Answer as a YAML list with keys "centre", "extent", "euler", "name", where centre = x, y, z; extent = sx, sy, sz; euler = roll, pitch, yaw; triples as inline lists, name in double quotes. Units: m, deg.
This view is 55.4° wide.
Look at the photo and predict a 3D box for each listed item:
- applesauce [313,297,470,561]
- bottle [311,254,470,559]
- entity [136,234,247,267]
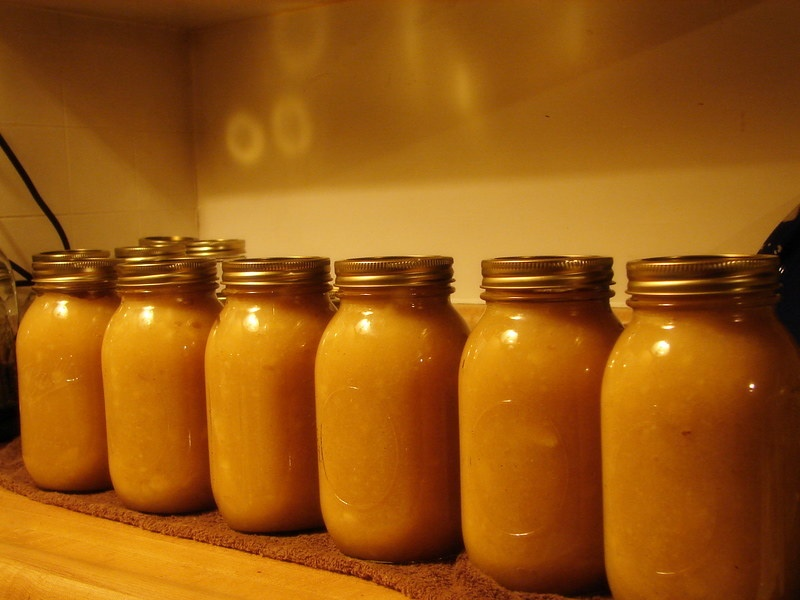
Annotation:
- centre: [-0.008, 0.127, 0.939]
  extent: [0.229, 0.388, 0.227]
  euler: [0, 3, -8]
  name: "applesauce"
- centre: [-0.007, 0.105, 0.764]
  extent: [0.158, 0.297, 0.094]
  euler: [-4, 12, 5]
  name: "bottle"
- centre: [-0.286, -0.069, 1.037]
  extent: [0.085, 0.060, 0.084]
  euler: [0, -2, 0]
  name: "entity"
